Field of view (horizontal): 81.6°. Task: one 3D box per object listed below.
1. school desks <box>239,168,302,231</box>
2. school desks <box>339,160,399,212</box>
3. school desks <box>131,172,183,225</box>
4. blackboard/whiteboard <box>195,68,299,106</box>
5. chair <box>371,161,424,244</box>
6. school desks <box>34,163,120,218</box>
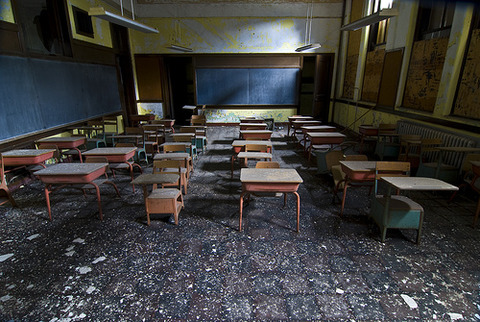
[{"bbox_3d":[0.491,0.609,5.108,1.309,0.994,1.006,0,9,2],"label":"school desks"},{"bbox_3d":[2.300,0.452,5.204,0.875,0.852,0.911,2,8,12],"label":"school desks"},{"bbox_3d":[-1.342,0.613,5.126,0.972,0.764,0.850,0,15,-4],"label":"school desks"},{"bbox_3d":[0.341,-3.200,12.125,4.522,1.642,0.147,-1,14,-4],"label":"blackboard/whiteboard"},{"bbox_3d":[2.658,0.640,4.743,0.822,1.121,0.982,7,18,22],"label":"chair"},{"bbox_3d":[-3.107,0.513,5.259,1.272,0.962,0.909,-1,16,-2],"label":"school desks"}]
